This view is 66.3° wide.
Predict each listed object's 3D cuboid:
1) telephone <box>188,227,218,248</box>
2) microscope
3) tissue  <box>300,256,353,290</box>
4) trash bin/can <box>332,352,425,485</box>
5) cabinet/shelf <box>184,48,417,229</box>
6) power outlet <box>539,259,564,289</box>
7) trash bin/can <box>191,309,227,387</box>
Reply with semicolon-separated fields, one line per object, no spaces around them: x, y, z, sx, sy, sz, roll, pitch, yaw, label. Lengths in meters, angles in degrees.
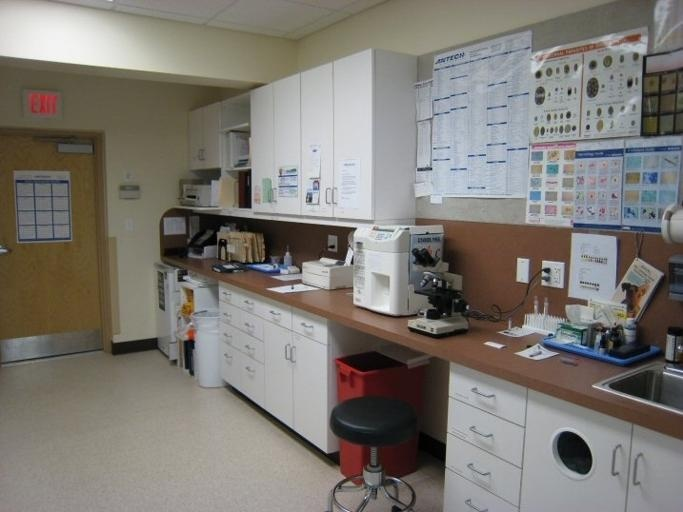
-1.439;-0.190;5.452;0.181;0.156;0.254;2;6;32;telephone
0.524;0.186;2.899;0.289;0.469;0.328;-5;9;-14;microscope
-0.113;0.121;3.909;0.226;0.223;0.310;0;7;-37;tissue 
0.281;0.958;3.309;0.482;0.812;0.499;-1;9;-42;trash bin/can
-0.095;-0.829;3.830;0.419;1.142;1.421;-11;16;-42;cabinet/shelf
1.134;0.093;2.820;0.016;0.164;0.134;-3;9;-32;power outlet
-1.165;0.799;4.662;0.274;0.646;0.292;-2;8;-27;trash bin/can
